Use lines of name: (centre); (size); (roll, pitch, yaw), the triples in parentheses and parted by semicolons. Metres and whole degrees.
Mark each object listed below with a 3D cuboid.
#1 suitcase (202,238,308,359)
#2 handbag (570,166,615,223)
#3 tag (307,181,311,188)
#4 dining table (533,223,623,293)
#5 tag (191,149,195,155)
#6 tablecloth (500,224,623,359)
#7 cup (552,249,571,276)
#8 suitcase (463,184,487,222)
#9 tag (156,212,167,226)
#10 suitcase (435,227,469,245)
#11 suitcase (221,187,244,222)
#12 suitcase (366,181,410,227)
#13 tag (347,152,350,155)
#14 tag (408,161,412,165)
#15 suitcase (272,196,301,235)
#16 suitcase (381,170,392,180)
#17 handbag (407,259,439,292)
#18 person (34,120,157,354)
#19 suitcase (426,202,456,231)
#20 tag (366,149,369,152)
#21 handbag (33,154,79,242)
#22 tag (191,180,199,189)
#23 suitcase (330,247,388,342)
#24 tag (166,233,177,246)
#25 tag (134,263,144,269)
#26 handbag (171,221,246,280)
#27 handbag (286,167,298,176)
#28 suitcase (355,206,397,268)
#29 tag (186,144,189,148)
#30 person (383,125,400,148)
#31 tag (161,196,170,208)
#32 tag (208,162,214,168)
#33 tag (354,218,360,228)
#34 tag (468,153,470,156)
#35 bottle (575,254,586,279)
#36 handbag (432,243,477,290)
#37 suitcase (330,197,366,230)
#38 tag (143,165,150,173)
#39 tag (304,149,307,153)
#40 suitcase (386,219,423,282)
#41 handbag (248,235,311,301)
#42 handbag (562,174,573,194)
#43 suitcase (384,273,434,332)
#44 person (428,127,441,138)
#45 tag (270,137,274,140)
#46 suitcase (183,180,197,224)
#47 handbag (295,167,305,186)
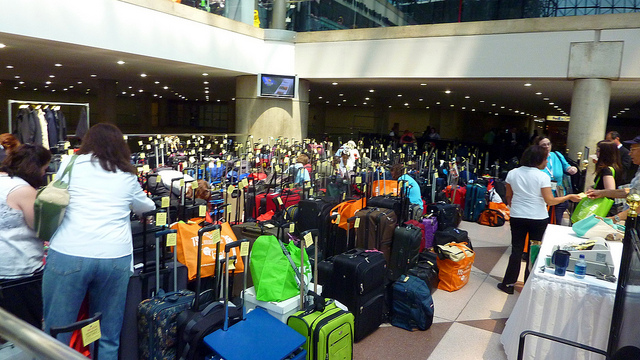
suitcase: (-0.629, 1.338, 3.697); (0.640, 0.599, 0.697); (7, 10, 38)
handbag: (3.878, 0.273, 5.438); (0.273, 1.002, 0.471); (32, -19, -9)
tag: (-0.214, 0.090, 7.708); (0.069, 0.118, 0.093); (2, 7, 25)
dining table: (2.782, 0.869, 4.186); (0.649, 0.181, 0.808); (6, 15, 29)
tag: (-3.008, -0.672, 9.146); (0.087, 0.081, 0.090); (3, 8, 24)
tablecloth: (2.687, 1.343, 4.350); (0.960, 1.280, 1.073); (7, 11, 38)
cup: (2.594, 0.863, 4.150); (0.256, 0.248, 0.155); (-2, 9, -21)
suitcase: (3.407, 0.498, 8.561); (0.434, 0.821, 0.149); (3, 9, 17)
tag: (-1.592, 0.378, 3.856); (0.017, 0.150, 0.154); (8, 5, 38)
suitcase: (2.110, 0.902, 6.248); (0.422, 0.212, 0.543); (7, 10, 41)
suitcase: (-1.455, 0.440, 6.400); (0.323, 0.504, 0.331); (1, -7, -16)
suitcase: (1.088, 0.328, 6.033); (0.724, 0.726, 0.470); (-1, 19, 34)
tag: (0.724, -0.681, 9.809); (0.066, 0.070, 0.116); (5, 0, 5)
tag: (2.489, -0.490, 10.743); (0.090, 0.075, 0.141); (6, -35, 9)
suitcase: (-0.501, 0.514, 5.722); (0.363, 0.466, 0.523); (-1, 8, -9)
suitcase: (1.504, -0.150, 8.645); (0.215, 0.365, 0.269); (-2, 1, 20)
handbag: (1.352, 1.306, 5.438); (0.544, 0.426, 0.542); (-1, -1, 19)
person: (-2.143, 0.557, 3.715); (0.910, 2.177, 0.438); (-3, 9, -23)
suitcase: (2.365, 0.686, 7.458); (0.564, 0.567, 0.602); (0, 12, 6)
tag: (1.654, -1.056, 13.667); (0.135, 0.134, 0.235); (4, 7, 5)
handbag: (-2.458, 0.163, 3.618); (0.395, 0.791, 0.231); (-5, 10, -33)
tag: (-1.759, 0.056, 5.413); (0.014, 0.083, 0.125); (-3, 5, 26)
suitcase: (0.419, 1.413, 4.947); (0.672, 1.063, 0.780); (6, 7, 42)
tag: (-1.479, 0.581, 3.838); (0.030, 0.114, 0.129); (3, -2, 33)
tag: (-1.899, 0.889, 4.050); (0.077, 0.021, 0.069); (2, 8, 17)
handbag: (-1.327, 0.767, 4.342); (0.797, 0.728, 0.254); (3, -22, -31)
handbag: (-0.563, -0.191, 7.808); (0.177, 0.142, 0.274); (9, 4, 30)
suitcase: (0.761, 0.812, 5.531); (0.573, 0.809, 0.622); (8, 12, 41)
tag: (-3.831, -0.998, 11.180); (0.085, 0.086, 0.080); (1, -2, 1)
person: (3.332, -2.015, 18.177); (0.746, 0.973, 2.738); (2, 8, 10)
tag: (-1.718, 0.235, 4.290); (0.066, 0.111, 0.126); (4, 9, 25)
tag: (-1.908, -0.262, 6.696); (0.097, 0.087, 0.095); (0, 4, 11)
tag: (0.484, 0.554, 5.102); (0.037, 0.102, 0.154); (4, -6, 11)
tag: (4.946, -0.880, 12.875); (0.039, 0.067, 0.072); (13, 17, 26)
bottle: (2.753, 0.898, 4.094); (0.083, 0.217, 0.172); (7, 10, 36)
handbag: (2.021, 1.275, 5.869); (0.734, 0.659, 0.476); (3, 3, -38)
suitcase: (0.424, 0.470, 5.675); (0.180, 0.470, 0.374); (27, -27, -14)
tag: (-2.641, -0.175, 5.847); (0.101, 0.104, 0.098); (1, 5, 14)
tag: (-0.443, -0.887, 11.733); (0.072, 0.120, 0.134); (1, 8, 35)
suitcase: (1.145, 0.983, 5.360); (0.424, 0.879, 0.804); (8, 7, 24)
handbag: (-0.451, 1.003, 4.578); (0.640, 0.678, 1.016); (5, -6, 10)
handbag: (4.541, 0.059, 7.108); (0.282, 0.334, 0.139); (7, -7, -35)
suitcase: (1.172, 1.574, 5.077); (0.624, 0.583, 0.504); (5, 12, 31)
person: (5.550, -2.278, 18.972); (0.906, 0.515, 0.895); (0, 1, 25)
tag: (-1.825, -1.569, 14.551); (0.092, 0.083, 0.158); (3, 7, -2)
suitcase: (-1.813, 0.255, 5.349); (0.173, 0.515, 0.675); (-2, 9, -17)
handbag: (-0.409, -0.083, 7.736); (0.215, 0.373, 0.341); (2, 7, 1)
